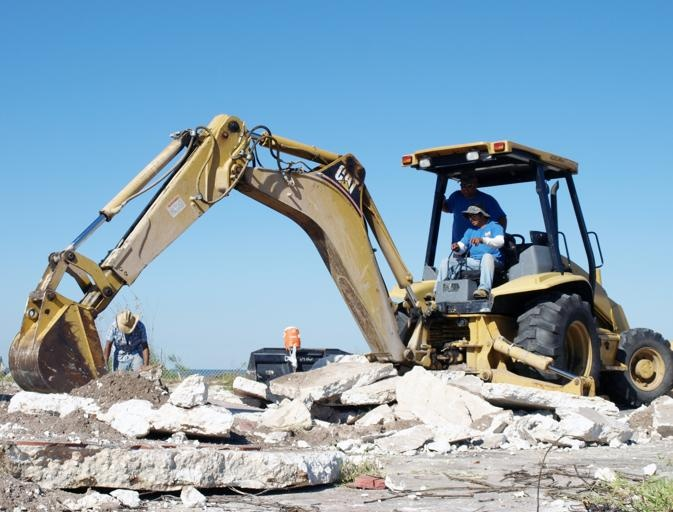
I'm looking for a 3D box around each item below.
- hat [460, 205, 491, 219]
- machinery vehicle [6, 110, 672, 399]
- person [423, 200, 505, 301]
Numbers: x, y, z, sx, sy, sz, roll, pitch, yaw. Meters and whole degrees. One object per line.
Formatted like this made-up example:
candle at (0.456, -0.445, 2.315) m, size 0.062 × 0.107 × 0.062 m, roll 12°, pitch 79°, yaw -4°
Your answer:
hat at (1.949, -0.593, 9.244) m, size 0.256 × 0.091 × 0.184 m, roll 11°, pitch -14°, yaw -25°
machinery vehicle at (0.574, 0.140, 9.210) m, size 8.971 × 3.722 × 3.170 m, roll 1°, pitch 1°, yaw -28°
person at (1.792, -0.045, 9.142) m, size 0.858 × 1.558 × 0.965 m, roll -6°, pitch -21°, yaw 32°
